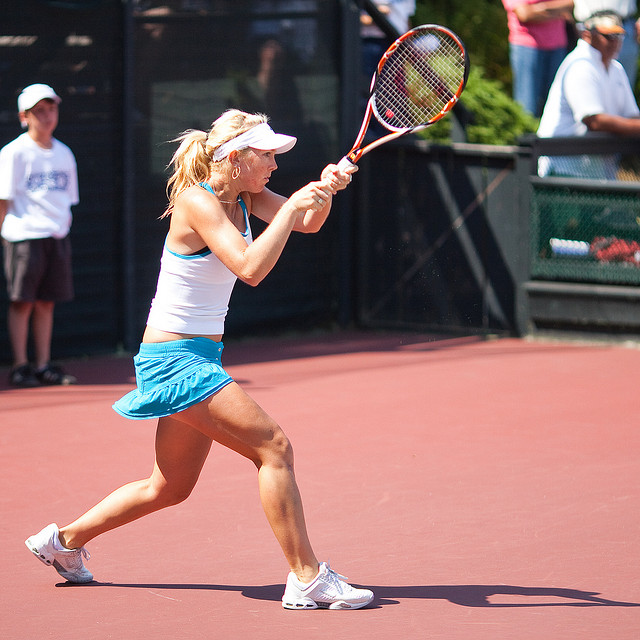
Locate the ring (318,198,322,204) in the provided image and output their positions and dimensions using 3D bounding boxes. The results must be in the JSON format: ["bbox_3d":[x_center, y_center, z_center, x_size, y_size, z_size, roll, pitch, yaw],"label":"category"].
[{"bbox_3d":[0.003,-0.454,4.416,0.006,0.019,0.022,11,15,36],"label":"ring"}]

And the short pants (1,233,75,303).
[{"bbox_3d":[-1.851,-0.352,7.974,0.461,0.439,0.276,-6,13,-24],"label":"short pants"}]

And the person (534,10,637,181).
[{"bbox_3d":[2.115,-1.809,9.421,0.767,1.313,0.737,2,12,12],"label":"person"}]

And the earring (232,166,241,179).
[{"bbox_3d":[-0.316,-0.570,4.509,0.033,0.049,0.026,8,15,37],"label":"earring"}]
